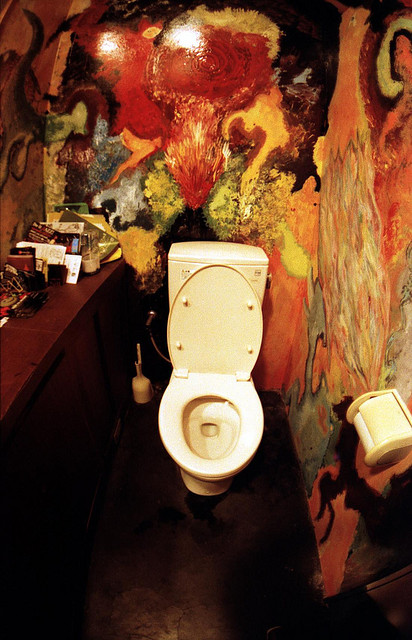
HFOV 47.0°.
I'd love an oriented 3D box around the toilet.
[{"bbox_3d":[0.028,0.231,1.786,0.363,0.816,0.782,2,31,-2],"label":"toilet"}]
